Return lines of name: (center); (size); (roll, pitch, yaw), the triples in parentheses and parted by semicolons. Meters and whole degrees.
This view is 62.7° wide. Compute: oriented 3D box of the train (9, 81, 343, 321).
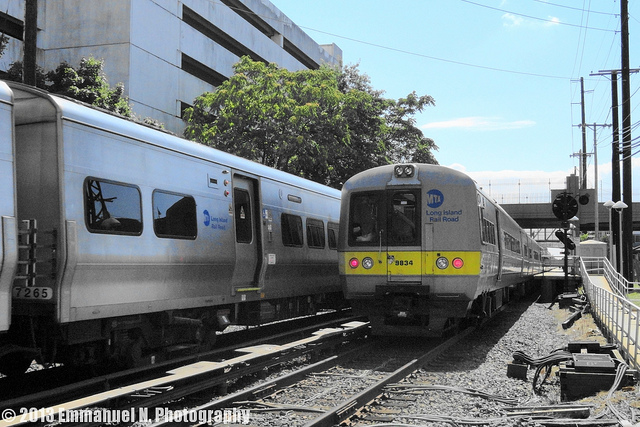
train: (-1.999, 0.147, 12.889); (1.228, 4.292, 11.317); (-4, -4, 30)

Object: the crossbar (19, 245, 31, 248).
crossbar: (-4.603, 0.510, 8.179); (0.155, 0.045, 0.043); (0, -4, -28)

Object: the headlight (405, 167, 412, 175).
headlight: (2.071, -1.002, 12.190); (0.173, 0.181, 0.046); (1, 1, 7)

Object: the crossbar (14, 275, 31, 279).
crossbar: (-4.661, 0.989, 8.197); (0.296, 0.068, 0.105); (-4, -4, 25)

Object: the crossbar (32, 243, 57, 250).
crossbar: (-4.342, 0.516, 8.269); (0.333, 0.112, 0.160); (-3, -4, 3)

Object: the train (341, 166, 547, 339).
train: (3.493, 1.276, 14.866); (2.985, 4.509, 6.852); (-4, -4, 26)

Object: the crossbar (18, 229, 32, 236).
crossbar: (-4.618, 0.298, 8.207); (0.211, 0.101, 0.036); (-3, -3, 0)
